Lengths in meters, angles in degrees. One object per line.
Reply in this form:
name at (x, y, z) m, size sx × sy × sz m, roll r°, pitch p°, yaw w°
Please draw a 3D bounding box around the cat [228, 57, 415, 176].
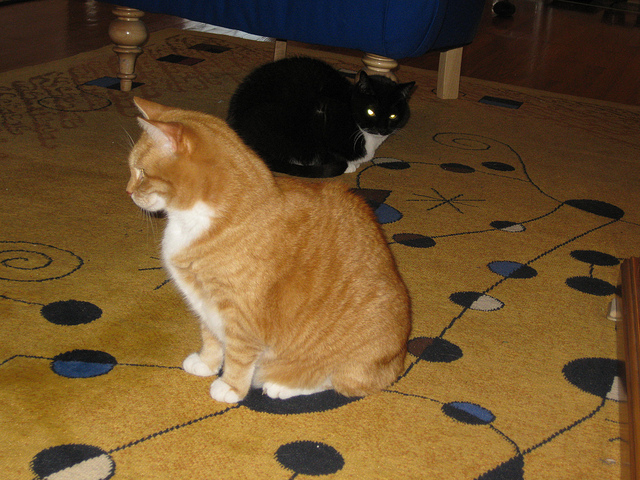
cat at (-0.032, -0.459, 2.316) m, size 0.967 × 0.345 × 0.360 m, roll 1°, pitch 47°, yaw -6°
